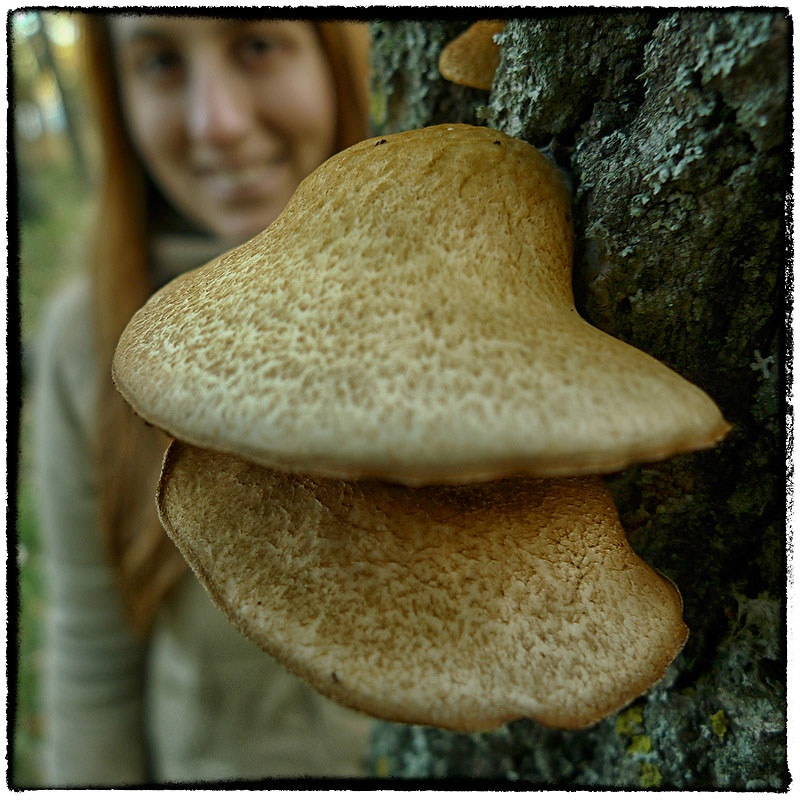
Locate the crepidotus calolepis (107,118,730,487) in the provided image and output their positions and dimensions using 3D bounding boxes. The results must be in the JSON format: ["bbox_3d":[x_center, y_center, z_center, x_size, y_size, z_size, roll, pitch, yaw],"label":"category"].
[{"bbox_3d":[0.012,-0.119,1.553,0.825,0.302,0.683,9,16,24],"label":"crepidotus calolepis"}]

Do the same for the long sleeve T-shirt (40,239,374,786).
[{"bbox_3d":[-0.937,0.533,3.213,1.314,1.675,0.497,-24,-1,39],"label":"long sleeve T-shirt"}]

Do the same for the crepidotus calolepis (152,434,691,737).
[{"bbox_3d":[0.021,0.323,1.979,0.992,0.244,1.033,-3,23,-33],"label":"crepidotus calolepis"}]

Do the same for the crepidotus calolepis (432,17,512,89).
[{"bbox_3d":[0.166,-0.869,2.335,0.119,0.156,0.292,1,33,-4],"label":"crepidotus calolepis"}]
